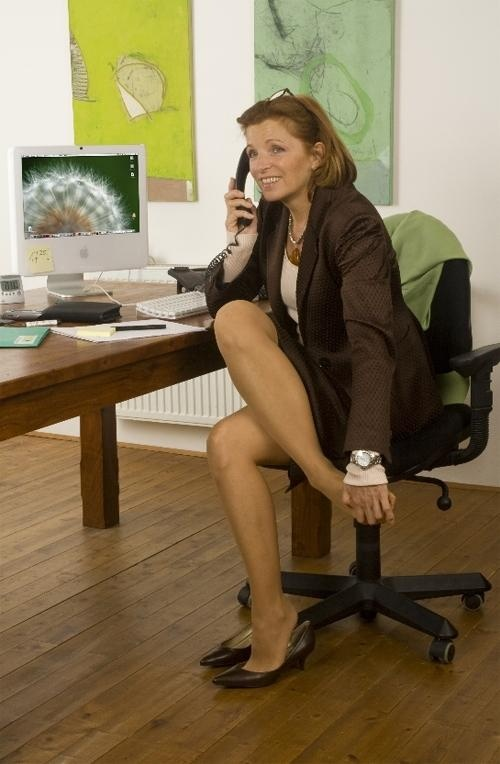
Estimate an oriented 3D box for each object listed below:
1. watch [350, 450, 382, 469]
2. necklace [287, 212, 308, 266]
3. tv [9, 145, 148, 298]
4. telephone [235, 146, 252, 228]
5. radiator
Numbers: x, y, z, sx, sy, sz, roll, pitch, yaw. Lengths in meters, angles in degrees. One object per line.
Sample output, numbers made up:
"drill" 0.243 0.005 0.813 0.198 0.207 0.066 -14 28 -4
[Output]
"watch" 0.183 0.122 1.015 0.033 0.019 0.034 3 -5 10
"necklace" 0.101 -0.305 1.353 0.071 0.094 0.027 0 7 26
"tv" -0.585 -0.561 2.187 0.564 0.540 0.197 -9 16 -31
"telephone" -0.021 -0.492 1.664 0.044 0.243 0.070 -2 -14 3
"radiator" -0.277 -0.213 3.311 1.256 0.587 0.683 -1 12 30
